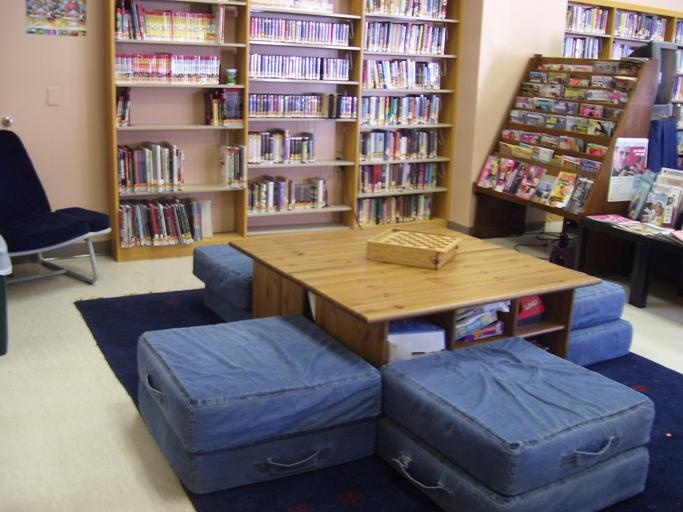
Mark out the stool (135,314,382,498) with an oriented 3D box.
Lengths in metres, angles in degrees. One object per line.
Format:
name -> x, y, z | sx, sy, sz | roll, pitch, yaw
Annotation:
stool -> -0.278, 0.546, 2.205 | 0.751, 0.300, 0.708 | -6, 19, -28

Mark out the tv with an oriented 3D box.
tv -> 2.814, -1.600, 4.909 | 0.445, 0.703, 0.803 | 8, 18, 24
